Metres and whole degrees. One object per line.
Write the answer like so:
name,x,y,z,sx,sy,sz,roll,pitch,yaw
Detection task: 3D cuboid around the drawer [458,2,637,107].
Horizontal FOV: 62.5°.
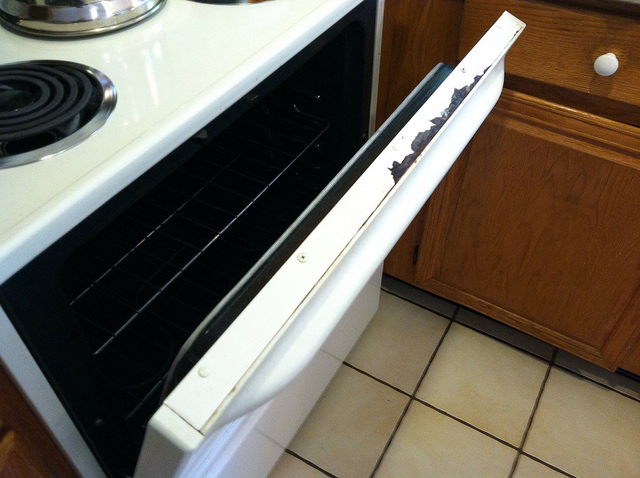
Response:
drawer,0.492,-0.348,1.134,0.312,0.214,0.214,14,52,9
